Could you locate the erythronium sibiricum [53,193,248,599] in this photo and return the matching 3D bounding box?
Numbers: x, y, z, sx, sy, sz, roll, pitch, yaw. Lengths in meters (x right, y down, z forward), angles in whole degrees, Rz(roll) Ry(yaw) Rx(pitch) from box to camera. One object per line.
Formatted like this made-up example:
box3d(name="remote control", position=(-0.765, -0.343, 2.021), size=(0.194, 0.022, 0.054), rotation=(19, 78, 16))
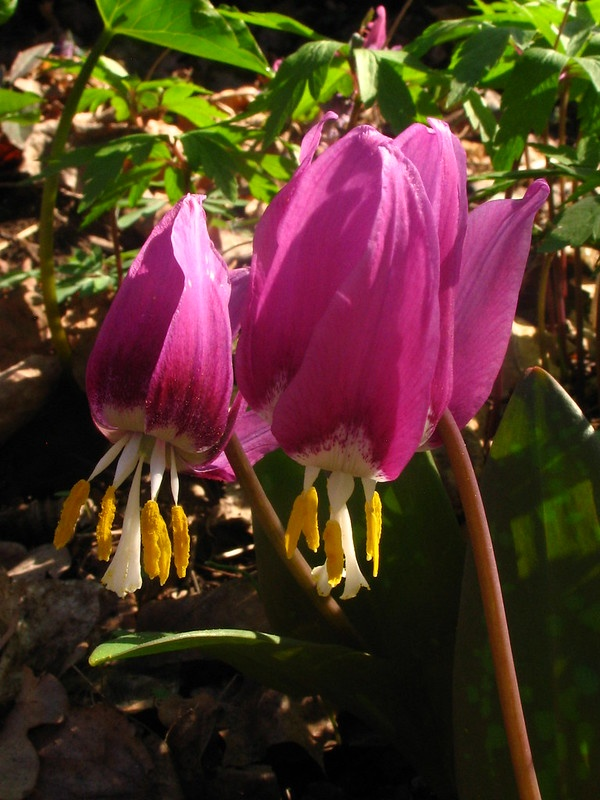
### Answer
box3d(name="erythronium sibiricum", position=(-0.210, 0.023, 0.981), size=(0.217, 0.604, 0.240), rotation=(6, 23, -18))
